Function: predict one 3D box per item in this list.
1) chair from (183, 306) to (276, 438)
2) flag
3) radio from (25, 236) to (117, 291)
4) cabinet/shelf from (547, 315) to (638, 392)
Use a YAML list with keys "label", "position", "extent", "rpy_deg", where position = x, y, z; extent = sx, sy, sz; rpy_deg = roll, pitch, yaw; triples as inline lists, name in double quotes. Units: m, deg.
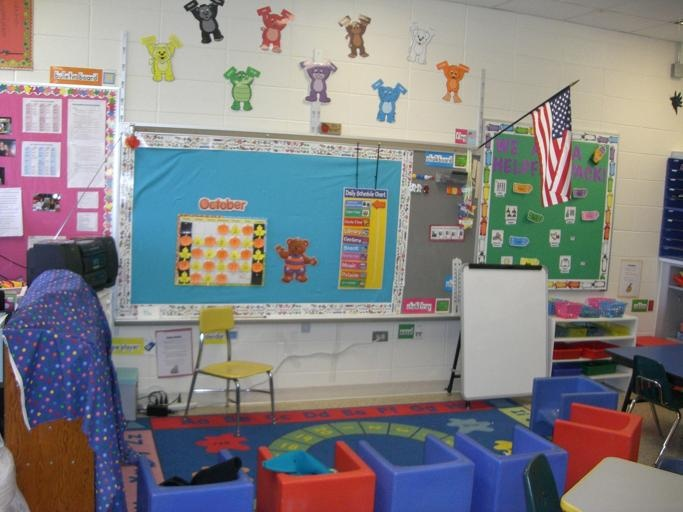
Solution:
- label: "chair"
  position: [-0.947, 0.895, 4.887]
  extent: [0.611, 0.943, 0.639]
  rpy_deg: [0, 2, -45]
- label: "flag"
  position: [1.906, -0.980, 5.252]
  extent: [0.390, 1.036, 0.201]
  rpy_deg: [7, 12, 19]
- label: "radio"
  position: [-2.018, 0.057, 4.454]
  extent: [0.351, 0.442, 0.735]
  rpy_deg: [5, 7, 11]
- label: "cabinet/shelf"
  position: [2.386, 0.921, 5.592]
  extent: [0.698, 0.673, 0.305]
  rpy_deg: [-3, 15, -19]
